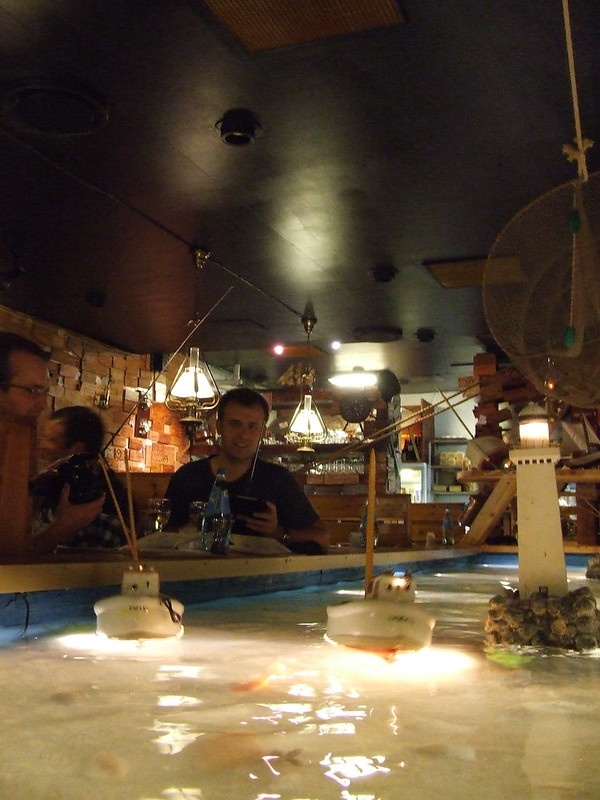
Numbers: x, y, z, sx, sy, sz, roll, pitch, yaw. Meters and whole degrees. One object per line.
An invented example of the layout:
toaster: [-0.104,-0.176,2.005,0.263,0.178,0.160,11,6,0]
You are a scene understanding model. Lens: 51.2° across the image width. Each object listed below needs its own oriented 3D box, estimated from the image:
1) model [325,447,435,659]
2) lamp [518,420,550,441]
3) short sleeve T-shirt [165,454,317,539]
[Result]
model: [0.217,0.404,1.776,0.285,0.574,0.366,-3,-15,19]
lamp: [0.937,0.123,2.470,0.126,0.099,0.114,2,-11,-9]
short sleeve T-shirt: [-0.360,0.676,4.391,0.901,0.508,0.972,4,28,-7]
